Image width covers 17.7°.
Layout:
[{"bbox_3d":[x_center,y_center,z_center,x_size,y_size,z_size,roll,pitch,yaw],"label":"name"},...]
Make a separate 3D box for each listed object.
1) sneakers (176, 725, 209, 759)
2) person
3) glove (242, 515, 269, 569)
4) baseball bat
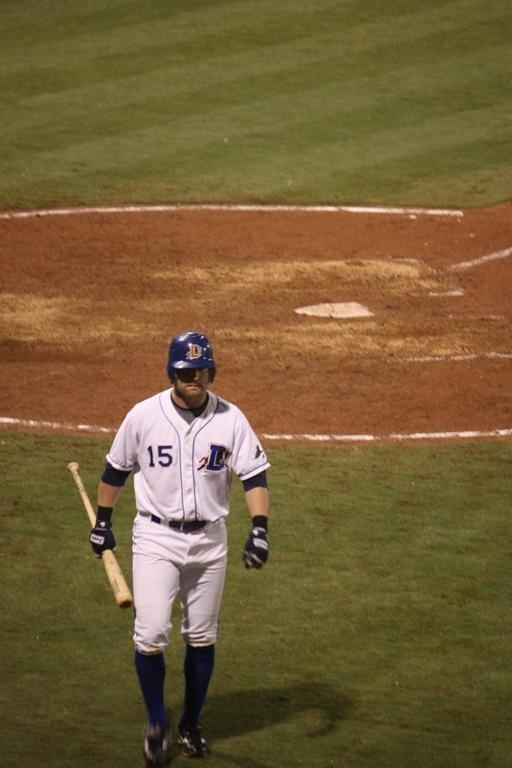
[{"bbox_3d":[-0.456,2.590,11.999,0.135,0.143,0.252,0,25,-21],"label":"sneakers"},{"bbox_3d":[-0.546,1.184,11.858,1.228,2.888,0.957,-3,21,-9],"label":"person"},{"bbox_3d":[-0.010,1.131,11.815,0.196,0.359,0.138,-6,-14,-7],"label":"glove"},{"bbox_3d":[-1.219,1.214,12.901,0.131,0.187,1.672,19,30,-32],"label":"baseball bat"}]
